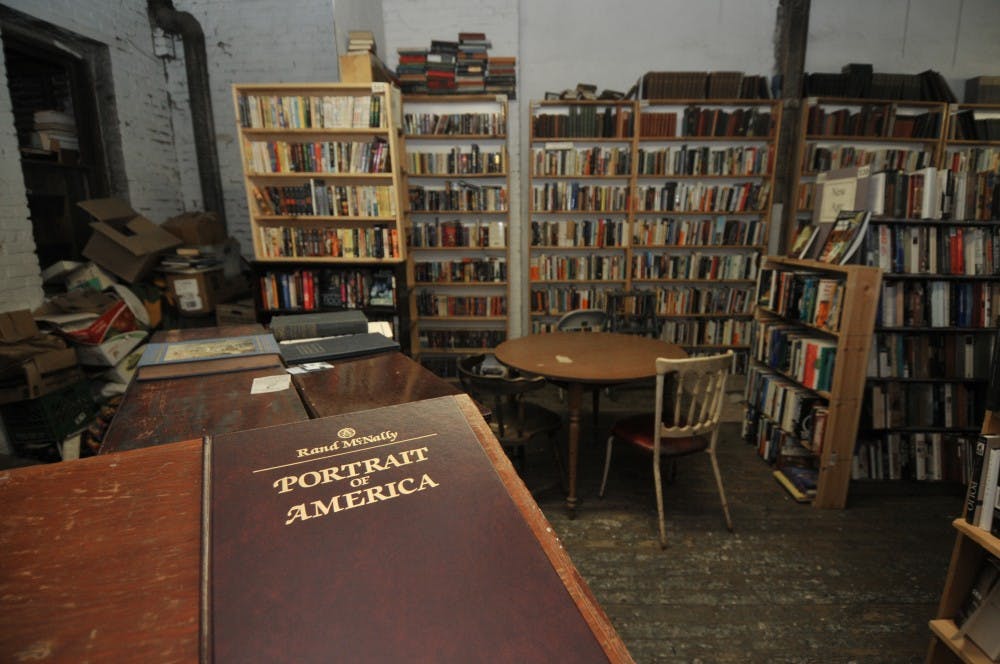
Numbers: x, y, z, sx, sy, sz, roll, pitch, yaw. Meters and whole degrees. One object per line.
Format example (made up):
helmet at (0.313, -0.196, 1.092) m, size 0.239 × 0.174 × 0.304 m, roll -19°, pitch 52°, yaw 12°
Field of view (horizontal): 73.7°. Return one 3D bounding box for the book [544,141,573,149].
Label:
book at (0.593, -1.885, 6.726) m, size 0.266 × 0.075 × 0.100 m, roll -1°, pitch 12°, yaw 3°

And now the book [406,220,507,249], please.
book at (-0.414, -1.003, 6.859) m, size 0.970 × 0.272 × 0.184 m, roll -1°, pitch 14°, yaw -1°

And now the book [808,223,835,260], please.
book at (2.325, -0.652, 4.840) m, size 0.029 × 0.188 × 0.334 m, roll 21°, pitch 54°, yaw 2°

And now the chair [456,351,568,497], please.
chair at (0.084, 0.676, 4.776) m, size 0.823 × 0.854 × 0.728 m, roll 6°, pitch 13°, yaw 11°

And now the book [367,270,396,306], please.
book at (-1.040, -0.379, 5.894) m, size 0.350 × 0.382 × 0.310 m, roll -1°, pitch 8°, yaw -5°

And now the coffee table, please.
coffee table at (0.809, 0.698, 5.229) m, size 1.508 × 0.850 × 1.339 m, roll -6°, pitch 18°, yaw -20°

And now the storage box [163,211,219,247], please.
storage box at (-2.861, -0.985, 6.316) m, size 0.450 × 0.249 × 0.465 m, roll -12°, pitch 24°, yaw -38°

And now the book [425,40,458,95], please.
book at (-0.581, -2.606, 6.622) m, size 0.525 × 0.411 × 0.123 m, roll -2°, pitch 7°, yaw -2°

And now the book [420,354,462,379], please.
book at (-0.524, 0.313, 6.014) m, size 0.321 × 0.230 × 0.101 m, roll 0°, pitch -7°, yaw -5°

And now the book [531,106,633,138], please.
book at (0.815, -2.100, 6.679) m, size 1.012 × 0.326 × 0.198 m, roll -1°, pitch 14°, yaw 2°

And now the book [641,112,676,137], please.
book at (1.561, -2.056, 6.607) m, size 0.301 × 0.161 × 0.019 m, roll 1°, pitch 7°, yaw -1°

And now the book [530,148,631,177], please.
book at (0.807, -1.710, 6.720) m, size 0.984 × 0.287 × 0.156 m, roll 0°, pitch 14°, yaw 5°

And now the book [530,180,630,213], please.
book at (0.806, -1.369, 6.795) m, size 0.975 × 0.286 × 0.190 m, roll 0°, pitch 14°, yaw 5°

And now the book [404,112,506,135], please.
book at (-0.447, -2.082, 6.702) m, size 1.007 × 0.249 × 0.216 m, roll -2°, pitch 13°, yaw -6°

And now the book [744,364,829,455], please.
book at (2.159, 0.576, 5.000) m, size 0.328 × 0.626 × 0.760 m, roll 6°, pitch 4°, yaw -6°

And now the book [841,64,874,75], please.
book at (3.531, -2.598, 6.624) m, size 0.213 × 0.103 × 0.183 m, roll 1°, pitch 12°, yaw 11°

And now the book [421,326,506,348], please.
book at (-0.391, 0.056, 6.926) m, size 0.911 × 0.225 × 0.270 m, roll -1°, pitch -1°, yaw -1°
